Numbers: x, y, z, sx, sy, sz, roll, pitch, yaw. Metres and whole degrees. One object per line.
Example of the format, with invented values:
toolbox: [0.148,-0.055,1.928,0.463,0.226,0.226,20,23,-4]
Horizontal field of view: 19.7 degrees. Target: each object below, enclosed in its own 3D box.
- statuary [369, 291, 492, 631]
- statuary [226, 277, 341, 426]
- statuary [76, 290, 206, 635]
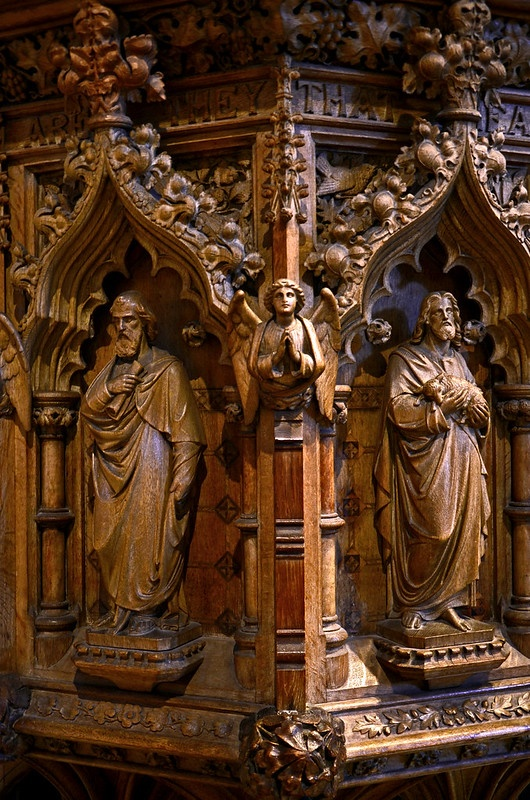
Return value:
statuary: [0.676,0.251,6.245,0.479,1.372,0.360,-3,-9,10]
statuary: [0.077,-0.179,5.912,0.582,0.726,0.289,0,-3,-4]
statuary: [-0.497,0.242,6.253,0.503,1.388,0.260,0,-9,-8]
